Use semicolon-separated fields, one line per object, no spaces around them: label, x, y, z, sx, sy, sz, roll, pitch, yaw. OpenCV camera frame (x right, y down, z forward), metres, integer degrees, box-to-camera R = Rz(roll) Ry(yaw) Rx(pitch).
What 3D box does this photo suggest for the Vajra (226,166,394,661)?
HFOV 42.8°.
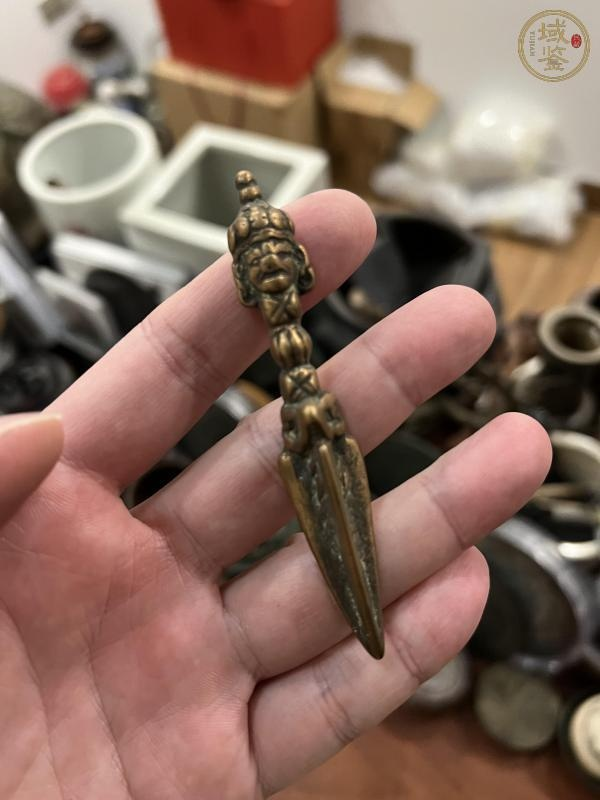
Vajra;0.011;0.015;0.977;0.130;0.101;0.660;-21;87;-8
